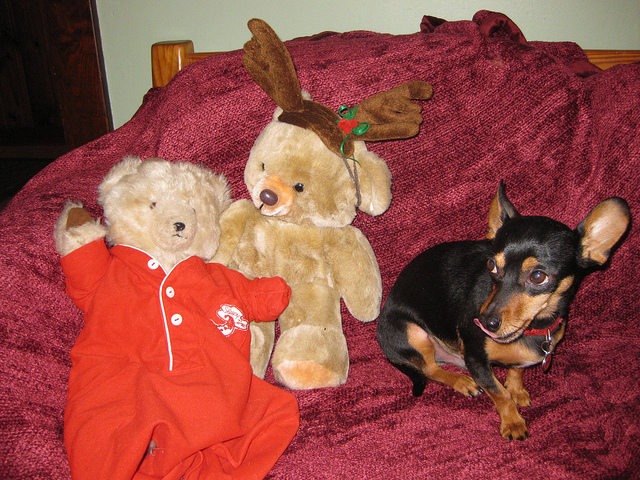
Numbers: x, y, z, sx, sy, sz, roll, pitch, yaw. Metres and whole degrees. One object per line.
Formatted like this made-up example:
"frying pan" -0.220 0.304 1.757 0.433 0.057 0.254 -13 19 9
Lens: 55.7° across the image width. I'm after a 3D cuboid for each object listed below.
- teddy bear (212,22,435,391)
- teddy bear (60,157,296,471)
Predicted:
"teddy bear" -0.097 -0.084 1.993 0.755 1.066 0.649 8 36 3
"teddy bear" -0.496 0.224 1.822 0.641 0.959 0.271 5 -22 -25
